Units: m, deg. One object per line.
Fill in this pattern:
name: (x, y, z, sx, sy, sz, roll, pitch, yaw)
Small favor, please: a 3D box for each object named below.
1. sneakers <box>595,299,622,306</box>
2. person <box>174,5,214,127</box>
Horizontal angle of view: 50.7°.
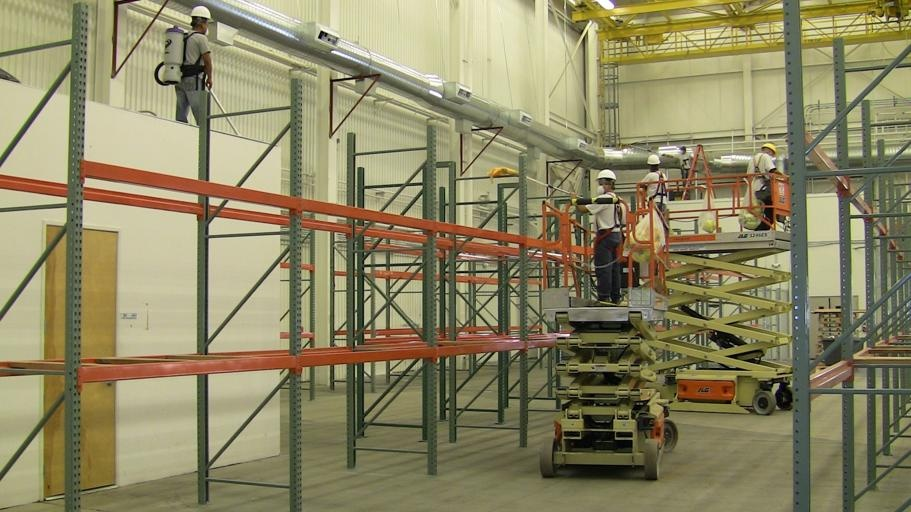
sneakers: (2.932, 0.914, 18.627, 0.553, 0.172, 0.163, 0, -2, 0)
person: (-4.967, -3.656, 18.251, 0.626, 2.235, 1.412, -4, 4, -31)
